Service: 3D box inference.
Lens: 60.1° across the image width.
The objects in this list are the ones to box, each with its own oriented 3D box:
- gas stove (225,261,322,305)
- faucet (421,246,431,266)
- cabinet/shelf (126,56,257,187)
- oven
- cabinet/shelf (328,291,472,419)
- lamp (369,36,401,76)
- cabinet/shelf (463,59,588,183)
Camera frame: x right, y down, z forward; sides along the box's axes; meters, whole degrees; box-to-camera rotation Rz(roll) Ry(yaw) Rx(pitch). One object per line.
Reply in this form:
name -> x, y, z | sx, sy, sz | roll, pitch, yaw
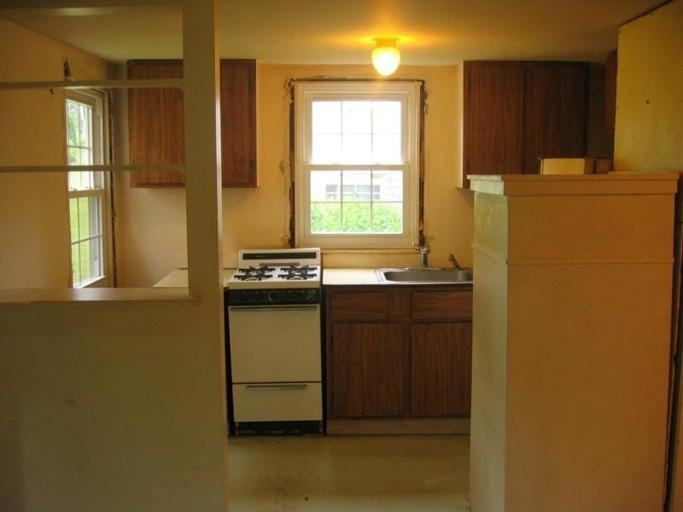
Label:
gas stove -> -0.439, 0.199, 3.918 | 0.616, 0.182, 0.427 | 0, 9, -2
faucet -> 0.623, 0.003, 4.364 | 0.054, 0.144, 0.107 | 2, 8, 15
cabinet/shelf -> -1.103, -1.025, 4.109 | 0.342, 0.993, 0.999 | 12, 12, 40
oven -> -0.421, 0.641, 4.041 | 0.619, 0.866, 0.637 | -2, 13, -7
cabinet/shelf -> 0.317, 0.679, 4.052 | 1.051, 0.954, 0.535 | 3, -7, -21
lamp -> 0.263, -1.173, 3.493 | 0.212, 0.220, 0.219 | 4, 11, 27
cabinet/shelf -> 1.206, -0.913, 3.791 | 0.923, 0.915, 0.312 | 0, 6, 0
